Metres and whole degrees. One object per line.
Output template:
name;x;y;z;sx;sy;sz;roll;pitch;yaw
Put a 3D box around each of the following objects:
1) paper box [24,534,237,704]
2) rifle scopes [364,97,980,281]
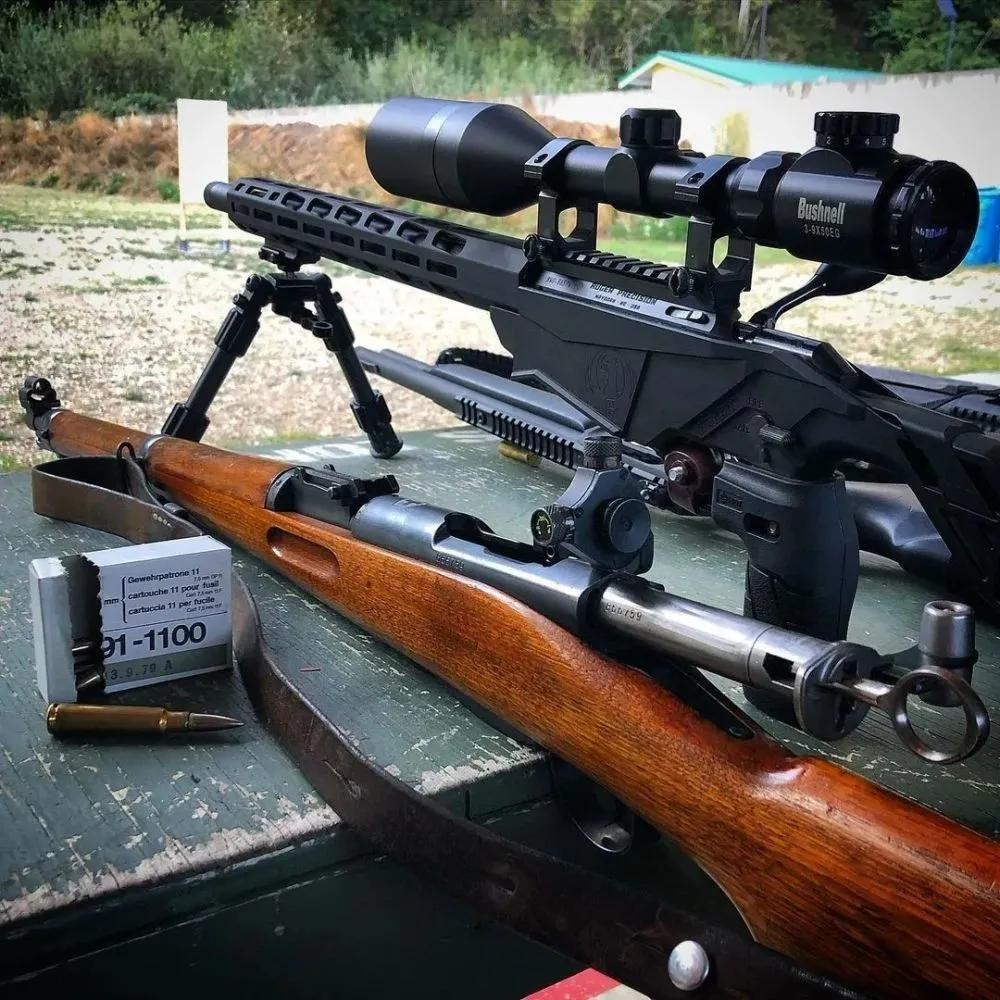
paper box;-0.434;0.153;1.167;0.236;0.141;0.073;-5;14;-34
rifle scopes;0.146;-0.404;1.186;0.130;0.207;0.839;-16;24;-37
